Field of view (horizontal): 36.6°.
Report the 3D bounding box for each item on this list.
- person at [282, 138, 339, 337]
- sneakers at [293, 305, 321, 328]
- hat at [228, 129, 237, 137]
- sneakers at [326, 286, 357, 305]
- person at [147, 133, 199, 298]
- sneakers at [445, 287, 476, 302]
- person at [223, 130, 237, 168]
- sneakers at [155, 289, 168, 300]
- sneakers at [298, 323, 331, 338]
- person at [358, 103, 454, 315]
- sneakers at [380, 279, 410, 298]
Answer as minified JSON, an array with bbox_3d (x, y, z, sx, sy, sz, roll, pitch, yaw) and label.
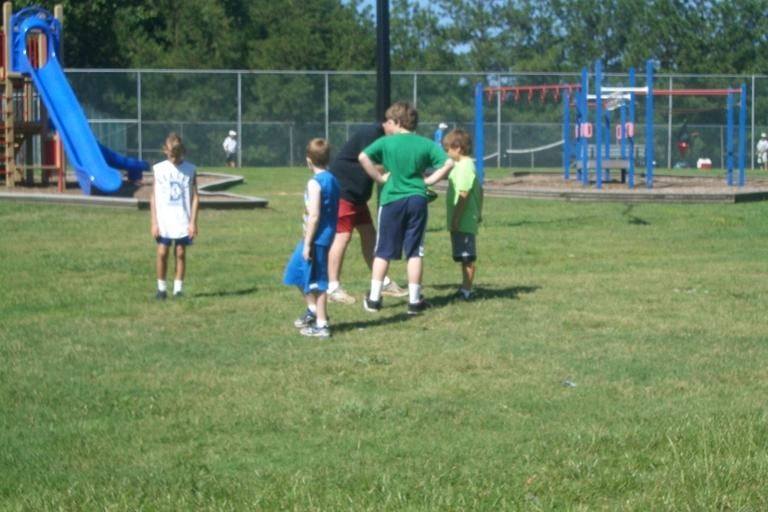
[{"bbox_3d":[-0.851,-0.219,13.899,0.733,2.321,0.572,-4,6,-9],"label":"person"},{"bbox_3d":[-1.005,0.757,14.234,0.420,0.294,0.144,-3,2,7],"label":"sneakers"},{"bbox_3d":[-5.522,-4.484,42.701,0.224,0.179,0.334,-6,9,-23],"label":"hat"},{"bbox_3d":[-0.529,0.528,15.046,0.386,0.183,0.173,0,5,3],"label":"sneakers"},{"bbox_3d":[-2.729,-0.530,15.221,0.617,2.097,0.502,-4,6,-12],"label":"person"},{"bbox_3d":[1.007,0.495,15.250,0.157,0.181,0.415,-3,6,-44],"label":"sneakers"},{"bbox_3d":[-5.574,-3.942,42.757,0.517,1.291,0.766,-4,6,-8],"label":"person"},{"bbox_3d":[-2.870,0.496,15.129,0.121,0.116,0.115,2,-3,-18],"label":"sneakers"},{"bbox_3d":[-0.820,0.882,13.924,0.352,0.177,0.151,3,1,6],"label":"sneakers"},{"bbox_3d":[0.247,-0.602,14.591,1.087,2.624,0.505,-3,6,-3],"label":"person"},{"bbox_3d":[0.139,0.434,15.512,0.339,0.158,0.170,1,3,2],"label":"sneakers"}]
